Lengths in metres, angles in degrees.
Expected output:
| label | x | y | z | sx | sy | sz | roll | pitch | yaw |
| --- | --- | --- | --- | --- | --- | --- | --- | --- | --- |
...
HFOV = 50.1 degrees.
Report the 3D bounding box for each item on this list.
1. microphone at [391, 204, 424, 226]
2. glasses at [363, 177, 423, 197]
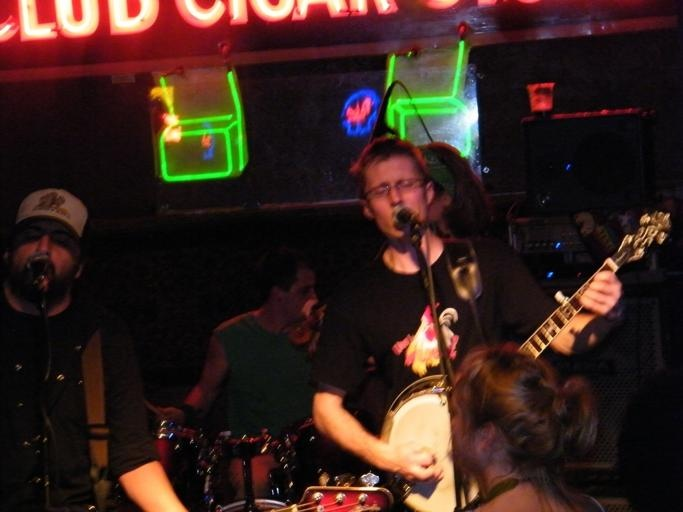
| label | x | y | z | sx | sy | sz | roll | pitch | yaw |
| --- | --- | --- | --- | --- | --- | --- | --- | --- | --- |
| microphone | 0.300 | -0.194 | 3.391 | 0.127 | 0.097 | 0.055 | -5 | -1 | 32 |
| glasses | 0.280 | -0.364 | 3.876 | 0.321 | 0.105 | 0.068 | -5 | -1 | 3 |
